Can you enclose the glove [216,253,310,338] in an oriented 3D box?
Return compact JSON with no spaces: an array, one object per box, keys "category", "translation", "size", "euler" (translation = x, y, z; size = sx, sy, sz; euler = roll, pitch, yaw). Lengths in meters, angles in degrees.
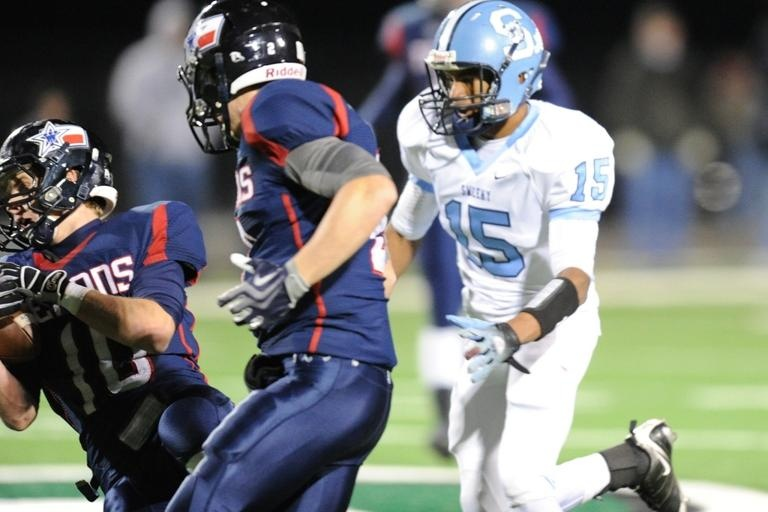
[{"category":"glove","translation":[-0.439,0.137,3.906],"size":[0.308,0.251,0.161],"euler":[-29,4,20]}]
